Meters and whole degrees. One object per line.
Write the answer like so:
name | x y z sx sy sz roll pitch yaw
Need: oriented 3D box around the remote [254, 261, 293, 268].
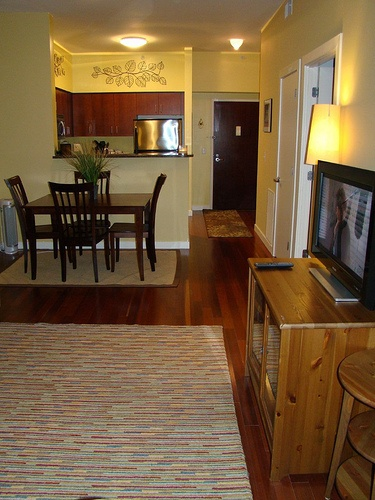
remote | 0.429 0.080 1.847 0.118 0.020 0.076 0 11 -3

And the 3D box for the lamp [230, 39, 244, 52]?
lamp | 0.791 -3.243 5.956 0.201 0.177 0.231 0 35 2

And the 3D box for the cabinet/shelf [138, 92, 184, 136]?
cabinet/shelf | -0.500 -2.471 7.041 0.893 1.014 0.390 0 11 2

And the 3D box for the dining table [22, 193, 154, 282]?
dining table | -0.975 -0.131 4.002 1.101 0.964 0.914 1 18 2

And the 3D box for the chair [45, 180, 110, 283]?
chair | -1.129 -0.221 3.958 0.568 0.994 1.137 -3 12 -16

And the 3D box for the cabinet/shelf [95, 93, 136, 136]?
cabinet/shelf | -1.371 -2.604 7.091 0.651 0.737 0.281 1 18 1

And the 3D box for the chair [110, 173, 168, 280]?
chair | -0.580 -0.288 4.291 0.679 1.478 0.681 4 21 -1
